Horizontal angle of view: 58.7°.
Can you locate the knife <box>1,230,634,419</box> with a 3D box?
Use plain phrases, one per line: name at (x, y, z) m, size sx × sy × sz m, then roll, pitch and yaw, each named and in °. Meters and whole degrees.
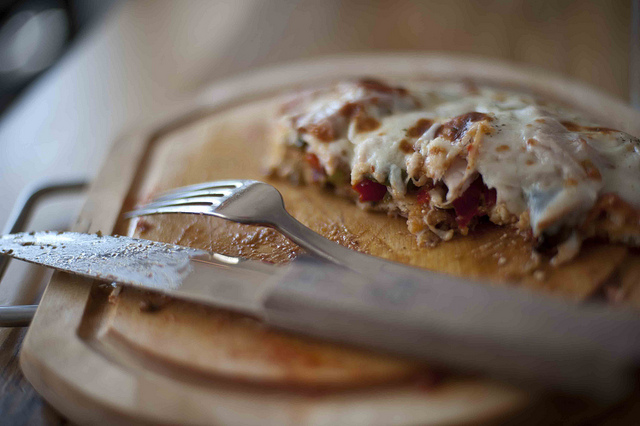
knife at (0.048, 0.277, 1.765) m, size 1.809 × 0.092 × 0.269 m, roll 12°, pitch 73°, yaw 8°
